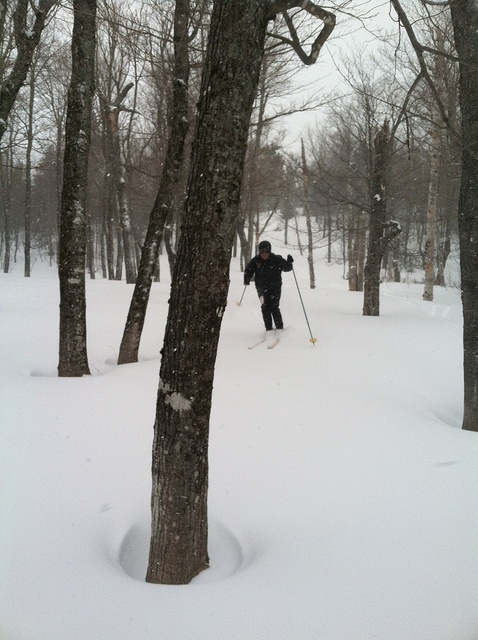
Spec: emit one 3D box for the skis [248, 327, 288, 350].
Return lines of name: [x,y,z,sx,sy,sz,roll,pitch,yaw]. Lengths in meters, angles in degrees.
skis: [0.396,0.247,9.439,0.160,0.106,0.746,-6,15,16]

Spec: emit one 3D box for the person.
person: [0.476,-0.499,10.309,0.647,1.545,0.393,2,36,16]

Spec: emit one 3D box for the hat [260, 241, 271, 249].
hat: [0.360,-1.037,10.028,0.096,0.140,0.125,9,12,27]
